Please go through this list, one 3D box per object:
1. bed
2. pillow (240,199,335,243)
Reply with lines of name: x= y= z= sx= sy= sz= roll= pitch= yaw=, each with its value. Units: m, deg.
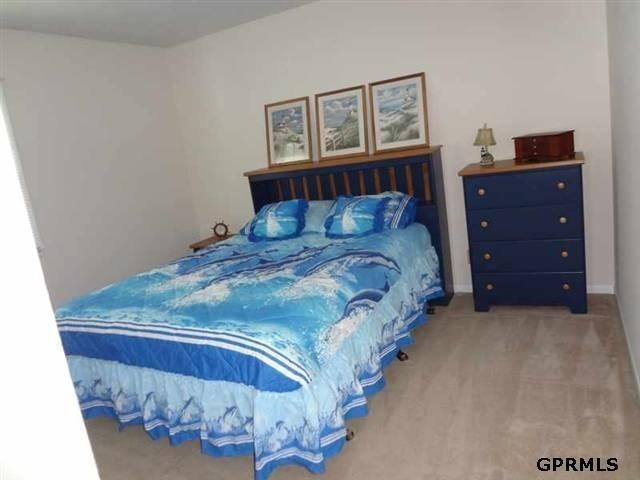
bed: x=-0.085 y=0.292 z=3.289 sx=1.768 sy=1.317 sz=2.482 roll=7 pitch=17 yaw=29
pillow: x=-0.276 y=-0.167 z=4.008 sx=0.434 sy=0.152 sz=0.489 roll=-1 pitch=18 yaw=19
